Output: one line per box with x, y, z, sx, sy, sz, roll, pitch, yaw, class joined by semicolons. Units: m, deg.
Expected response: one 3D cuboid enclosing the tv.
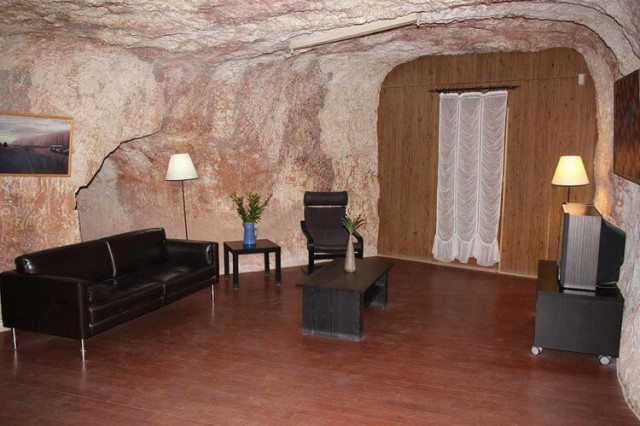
3.018;0.363;5.298;0.690;0.907;1.211;0;3;20;tv

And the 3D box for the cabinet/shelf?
2.823;0.905;5.035;0.703;0.621;1.290;3;8;22;cabinet/shelf

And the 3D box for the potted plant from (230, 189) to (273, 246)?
-1.126;0.087;7.166;0.540;0.815;0.921;0;6;-11;potted plant

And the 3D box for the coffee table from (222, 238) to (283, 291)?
-1.063;0.764;7.179;0.858;0.661;0.993;0;5;-12;coffee table

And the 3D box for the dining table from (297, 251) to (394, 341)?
0.268;0.779;5.528;0.798;0.580;1.311;1;11;16;dining table

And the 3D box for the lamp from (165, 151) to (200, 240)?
-2.086;-0.227;6.928;0.426;1.315;0.633;0;6;-16;lamp

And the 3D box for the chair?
0.123;0.262;7.642;1.188;1.676;1.279;-1;4;-8;chair
